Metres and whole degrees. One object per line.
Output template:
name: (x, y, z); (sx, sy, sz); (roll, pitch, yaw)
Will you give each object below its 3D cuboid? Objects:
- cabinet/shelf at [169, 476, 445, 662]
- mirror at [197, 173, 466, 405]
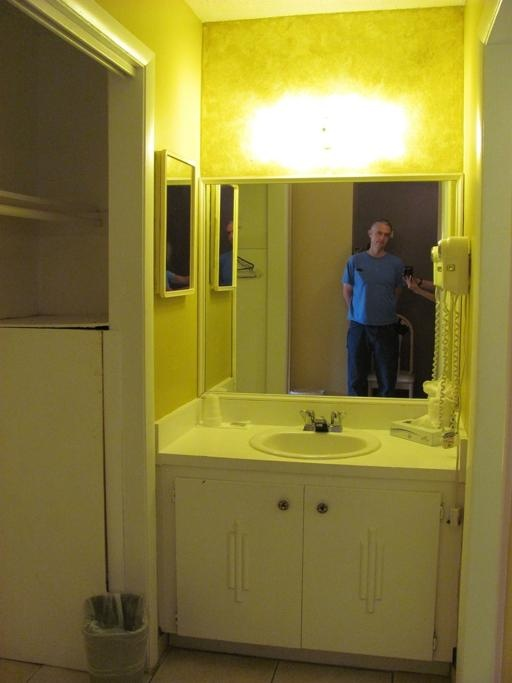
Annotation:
cabinet/shelf: (0.197, 0.690, 2.332); (0.890, 0.697, 0.537); (1, 18, 6)
mirror: (0.344, -0.227, 2.472); (0.778, 0.958, 0.036); (1, 3, 4)
